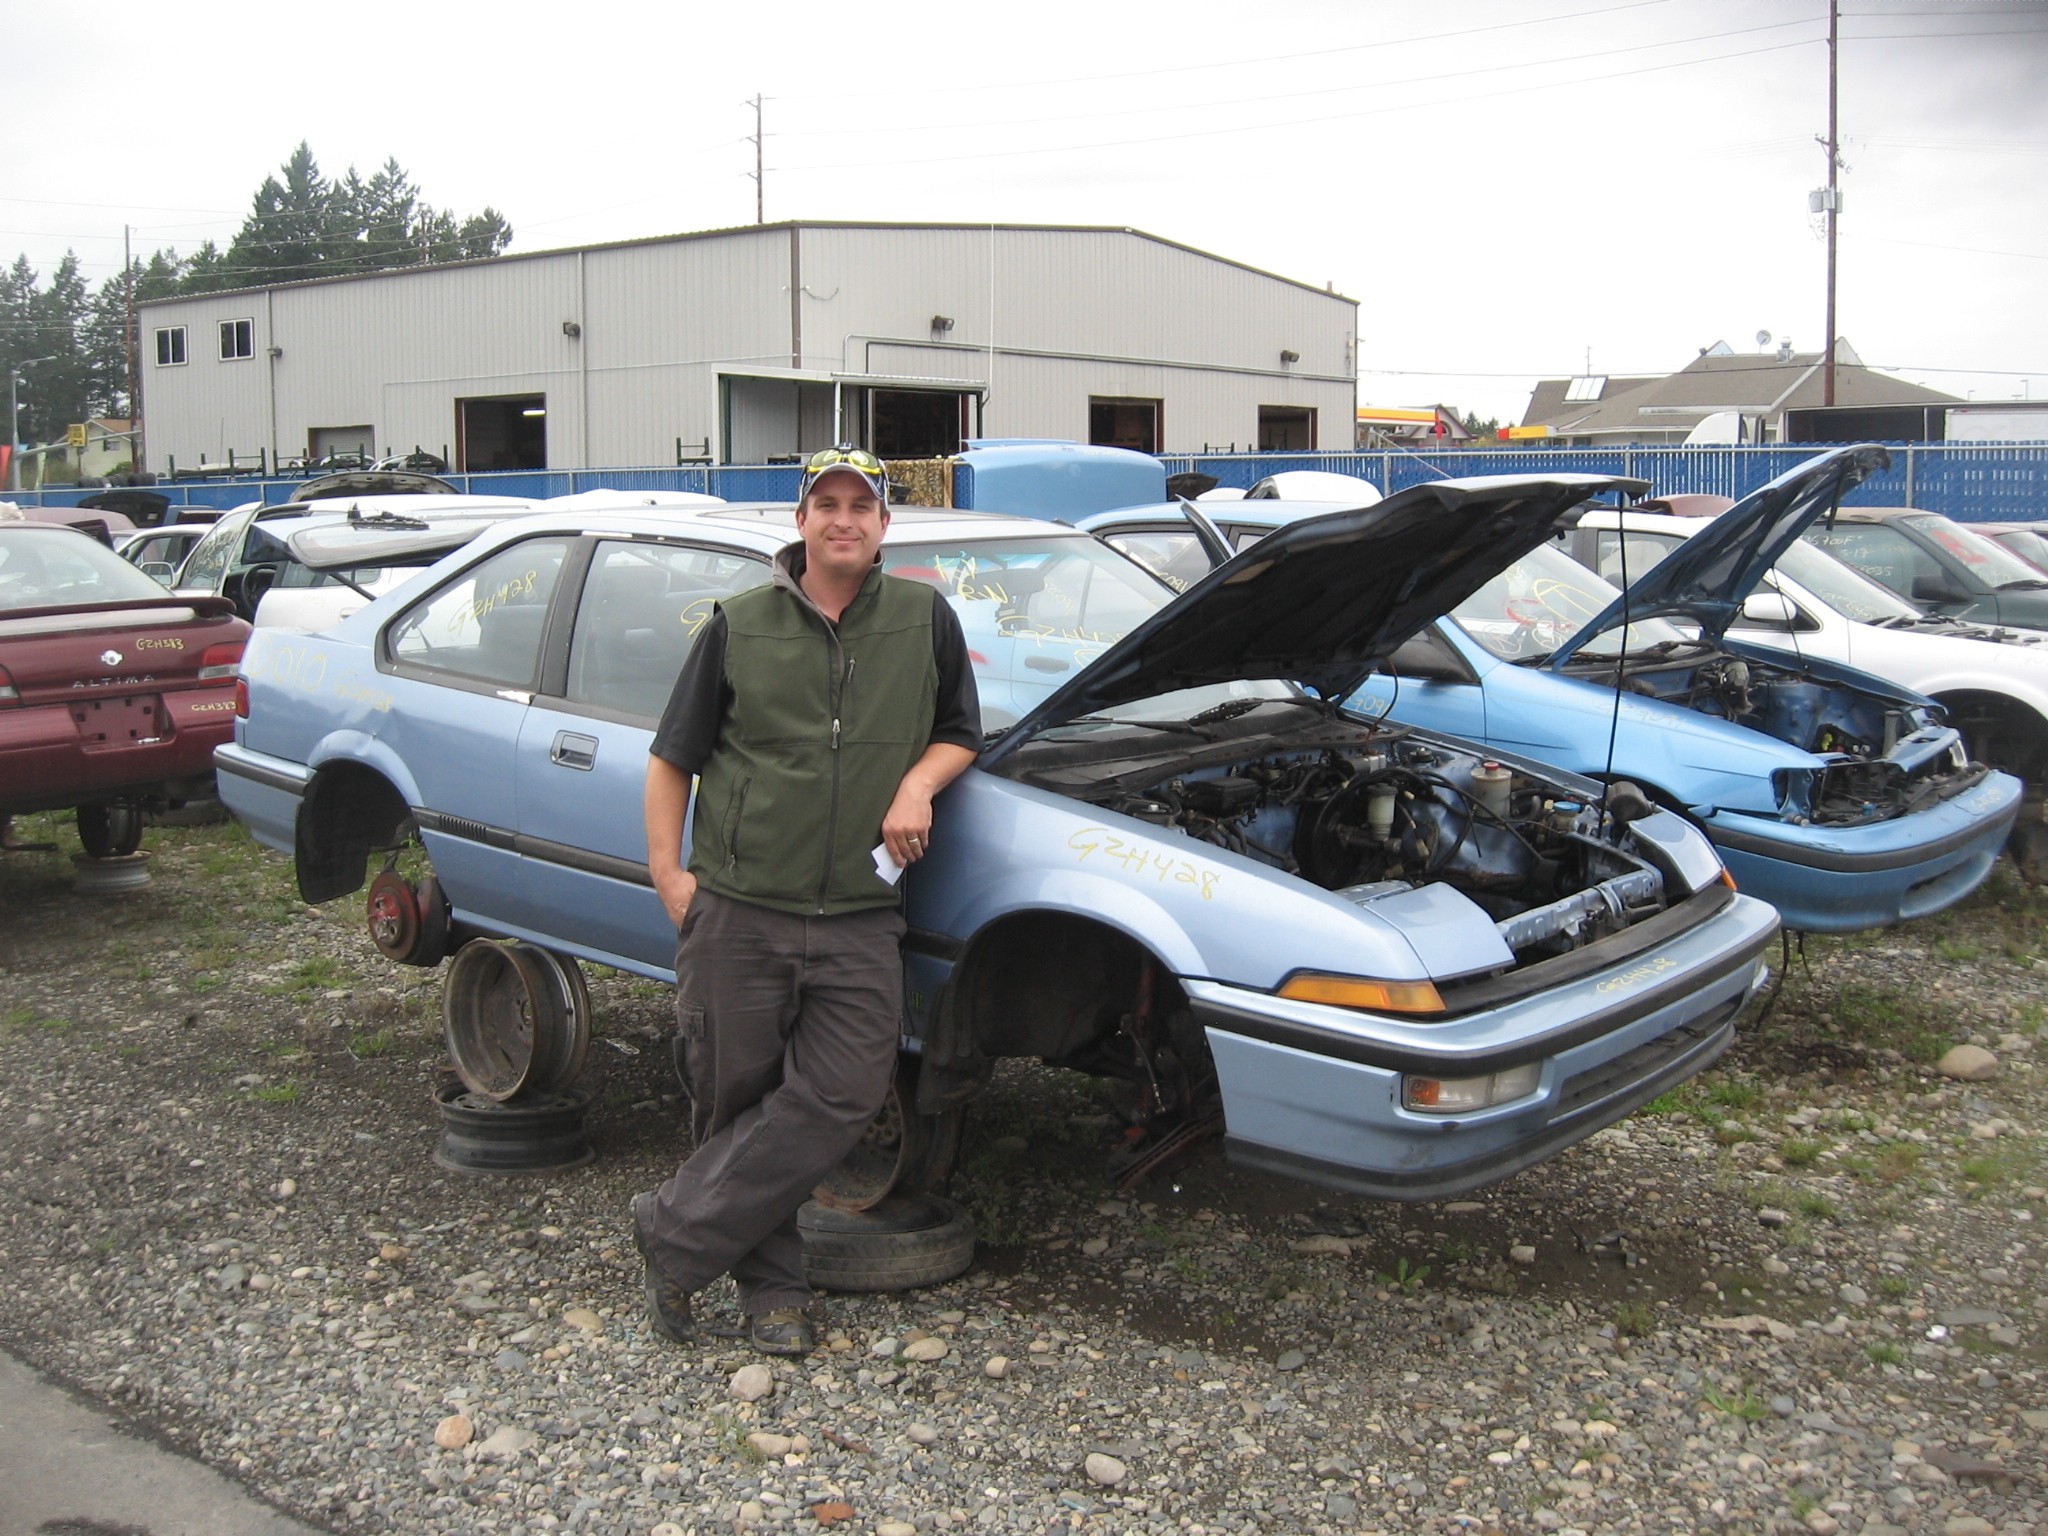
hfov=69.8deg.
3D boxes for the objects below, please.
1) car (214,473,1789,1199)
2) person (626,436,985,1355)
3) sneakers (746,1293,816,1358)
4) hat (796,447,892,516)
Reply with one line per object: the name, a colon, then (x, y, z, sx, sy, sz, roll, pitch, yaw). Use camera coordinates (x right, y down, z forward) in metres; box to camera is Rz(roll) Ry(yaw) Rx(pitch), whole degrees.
car: (-0.377, 0.126, 4.593, 4.253, 1.084, 2.232, 7, 14, 32)
person: (-0.599, 0.312, 3.741, 0.639, 2.202, 0.883, 9, 17, 36)
sneakers: (-0.596, 1.386, 3.660, 0.108, 0.077, 0.226, -2, 1, -35)
hat: (-0.448, -0.753, 3.730, 0.188, 0.112, 0.241, 4, -10, -6)
